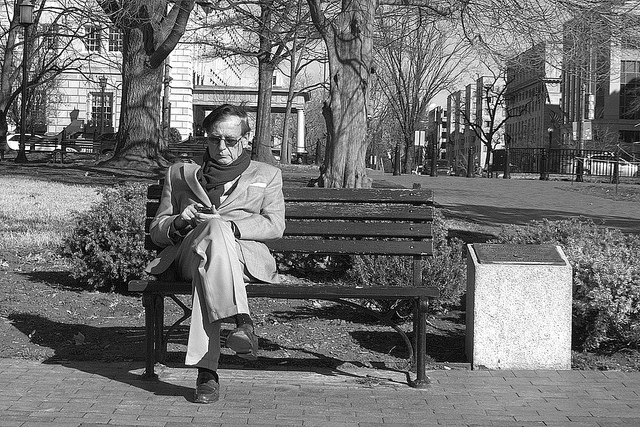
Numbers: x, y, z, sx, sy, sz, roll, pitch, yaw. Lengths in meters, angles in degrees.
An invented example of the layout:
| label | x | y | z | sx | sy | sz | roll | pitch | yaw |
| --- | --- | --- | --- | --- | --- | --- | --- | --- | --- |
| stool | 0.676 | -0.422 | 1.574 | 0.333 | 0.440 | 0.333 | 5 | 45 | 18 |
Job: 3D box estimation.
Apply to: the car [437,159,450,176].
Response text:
| label | x | y | z | sx | sy | sz | roll | pitch | yaw |
| --- | --- | --- | --- | --- | --- | --- | --- | --- | --- |
| car | 9.327 | -3.346 | 56.378 | 1.277 | 0.958 | 2.982 | 2 | 10 | 7 |

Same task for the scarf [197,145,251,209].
| label | x | y | z | sx | sy | sz | roll | pitch | yaw |
| --- | --- | --- | --- | --- | --- | --- | --- | --- | --- |
| scarf | -1.018 | -0.376 | 7.939 | 0.480 | 0.625 | 0.281 | 2 | 2 | -1 |

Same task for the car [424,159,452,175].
| label | x | y | z | sx | sy | sz | roll | pitch | yaw |
| --- | --- | --- | --- | --- | --- | --- | --- | --- | --- |
| car | 8.835 | -2.897 | 55.621 | 1.939 | 1.571 | 3.457 | 2 | 6 | 6 |

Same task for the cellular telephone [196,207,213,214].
| label | x | y | z | sx | sy | sz | roll | pitch | yaw |
| --- | --- | --- | --- | --- | --- | --- | --- | --- | --- |
| cellular telephone | -1.172 | -0.027 | 7.617 | 0.156 | 0.065 | 0.098 | 0 | 11 | -8 |

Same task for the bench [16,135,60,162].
| label | x | y | z | sx | sy | sz | roll | pitch | yaw |
| --- | --- | --- | --- | --- | --- | --- | --- | --- | --- |
| bench | -13.330 | -3.018 | 35.838 | 1.696 | 1.025 | 0.673 | 3 | 9 | 12 |
